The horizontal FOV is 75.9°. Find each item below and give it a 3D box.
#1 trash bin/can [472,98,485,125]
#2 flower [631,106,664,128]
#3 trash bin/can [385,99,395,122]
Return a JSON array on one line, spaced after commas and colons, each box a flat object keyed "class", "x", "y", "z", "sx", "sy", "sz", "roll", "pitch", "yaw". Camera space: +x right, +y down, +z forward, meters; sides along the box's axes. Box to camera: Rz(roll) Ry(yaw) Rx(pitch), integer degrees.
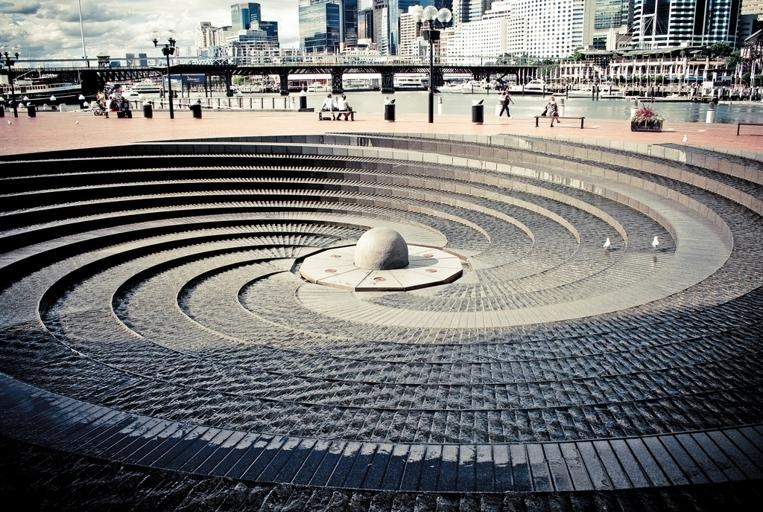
[{"class": "trash bin/can", "x": 5.148, "y": -7.728, "z": 26.257, "sx": 0.564, "sy": 1.105, "sz": 0.829, "roll": 3, "pitch": 21, "yaw": 16}, {"class": "flower", "x": 12.249, "y": -6.310, "z": 22.481, "sx": 1.628, "sy": 0.918, "sz": 1.325, "roll": 5, "pitch": 23, "yaw": 15}, {"class": "trash bin/can", "x": 0.474, "y": -8.414, "z": 28.257, "sx": 0.565, "sy": 1.209, "sz": 0.680, "roll": -5, "pitch": 21, "yaw": -3}]
